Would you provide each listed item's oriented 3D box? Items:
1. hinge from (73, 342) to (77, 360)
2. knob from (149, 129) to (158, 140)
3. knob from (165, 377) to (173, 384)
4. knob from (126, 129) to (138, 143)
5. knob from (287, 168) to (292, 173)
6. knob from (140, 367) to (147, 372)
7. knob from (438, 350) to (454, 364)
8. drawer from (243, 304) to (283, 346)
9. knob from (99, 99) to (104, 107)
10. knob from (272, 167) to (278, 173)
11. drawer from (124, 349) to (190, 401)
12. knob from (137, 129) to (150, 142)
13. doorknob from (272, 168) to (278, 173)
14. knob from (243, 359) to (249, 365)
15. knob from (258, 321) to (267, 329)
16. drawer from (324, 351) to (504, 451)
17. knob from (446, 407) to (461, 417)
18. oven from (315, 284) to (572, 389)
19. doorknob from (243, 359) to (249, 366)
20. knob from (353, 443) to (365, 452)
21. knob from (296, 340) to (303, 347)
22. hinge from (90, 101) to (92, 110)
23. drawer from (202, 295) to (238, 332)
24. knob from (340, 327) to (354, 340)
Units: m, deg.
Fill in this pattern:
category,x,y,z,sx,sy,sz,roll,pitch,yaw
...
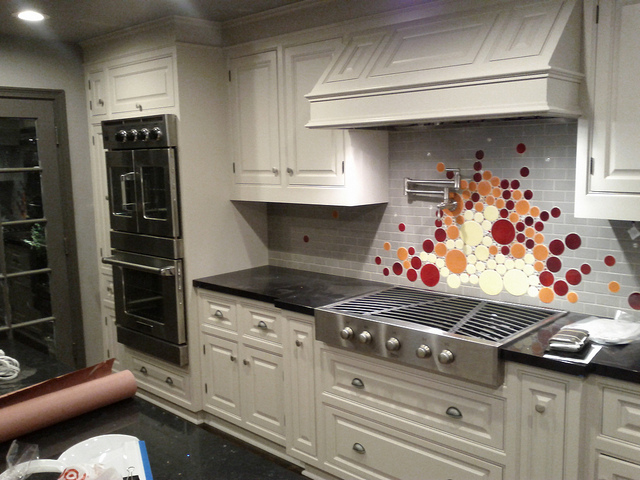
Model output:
category,x,y,z,sx,sy,sz,roll,pitch,yaw
hinge,-2.221,1.007,4.262,0.035,0.155,0.011,-8,13,-25
knob,-1.219,-0.766,3.422,0.080,0.070,0.075,0,0,-20
knob,-1.210,1.130,3.752,0.042,0.049,0.051,9,9,14
knob,-1.417,-0.787,3.546,0.126,0.098,0.045,8,15,44
knob,-0.224,-0.490,3.300,0.027,0.026,0.027,0,-32,5
knob,-1.479,1.088,3.925,0.043,0.027,0.038,-1,-7,14
knob,0.604,0.577,2.306,0.075,0.069,0.034,5,13,35
drawer,-0.382,0.574,3.169,0.373,0.219,0.060,2,6,38
knob,-1.847,-1.163,3.970,0.047,0.056,0.052,13,19,17
knob,-0.327,-0.501,3.374,0.038,0.034,0.035,-8,4,37
drawer,-1.298,1.097,3.817,0.556,0.156,0.325,5,1,35
knob,-1.307,-0.774,3.478,0.043,0.090,0.138,-12,14,-41
doorknob,-0.333,-0.501,3.375,0.036,0.032,0.025,-3,-20,7
knob,-0.527,0.860,3.302,0.053,0.037,0.013,8,15,43
knob,-0.394,0.574,3.166,0.047,0.046,0.020,-2,-5,36
drawer,0.721,0.865,2.859,1.329,0.253,0.905,4,-4,39
knob,0.663,0.869,2.368,0.056,0.037,0.032,-13,13,40
oven,0.663,0.518,2.717,1.162,0.237,0.767,6,13,38
doorknob,-0.528,0.860,3.298,0.039,0.040,0.029,-46,-9,28
knob,0.221,1.216,2.744,0.022,0.034,0.062,28,-20,-34
knob,-0.138,0.651,2.943,0.035,0.023,0.035,5,9,30
hinge,-1.997,-1.172,4.092,0.008,0.067,0.038,-13,15,-42
drawer,-0.727,0.536,3.428,0.341,0.198,0.053,3,7,36
knob,0.145,0.528,2.653,0.081,0.069,0.041,11,19,20
